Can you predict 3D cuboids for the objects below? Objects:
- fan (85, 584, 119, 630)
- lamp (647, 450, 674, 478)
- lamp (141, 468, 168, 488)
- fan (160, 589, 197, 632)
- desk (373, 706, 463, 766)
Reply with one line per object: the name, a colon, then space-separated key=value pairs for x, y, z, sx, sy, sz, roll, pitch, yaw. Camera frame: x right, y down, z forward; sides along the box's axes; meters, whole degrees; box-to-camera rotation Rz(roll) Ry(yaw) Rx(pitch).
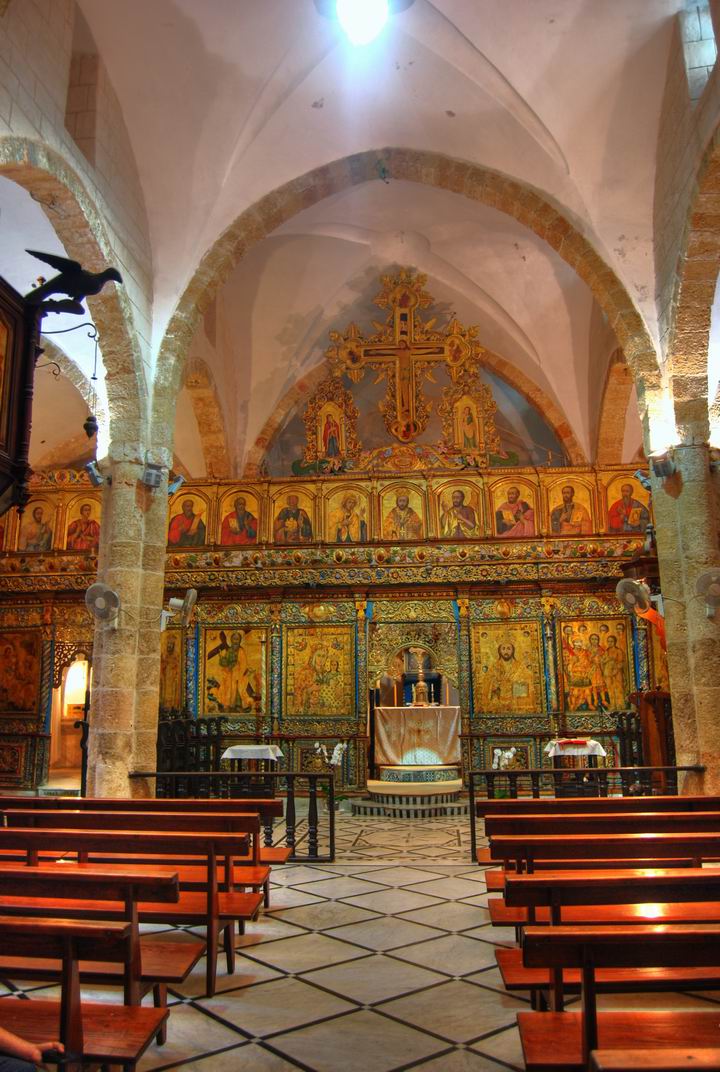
fan: x=-2.856 y=0.768 z=9.771 sx=0.393 sy=0.525 sz=0.339 roll=-2 pitch=-13 yaw=6
lamp: x=3.482 y=-0.824 z=10.124 sx=0.135 sy=0.327 sz=0.300 roll=9 pitch=-16 yaw=-36
lamp: x=-2.438 y=-0.697 z=10.481 sx=0.212 sy=0.246 sz=0.382 roll=-1 pitch=-6 yaw=20
fan: x=-2.893 y=1.118 z=14.142 sx=0.573 sy=0.765 sz=3.112 roll=2 pitch=-12 yaw=-11
desk: x=1.005 y=3.178 z=14.215 sx=1.683 sy=0.987 sz=0.895 roll=-1 pitch=-11 yaw=9
